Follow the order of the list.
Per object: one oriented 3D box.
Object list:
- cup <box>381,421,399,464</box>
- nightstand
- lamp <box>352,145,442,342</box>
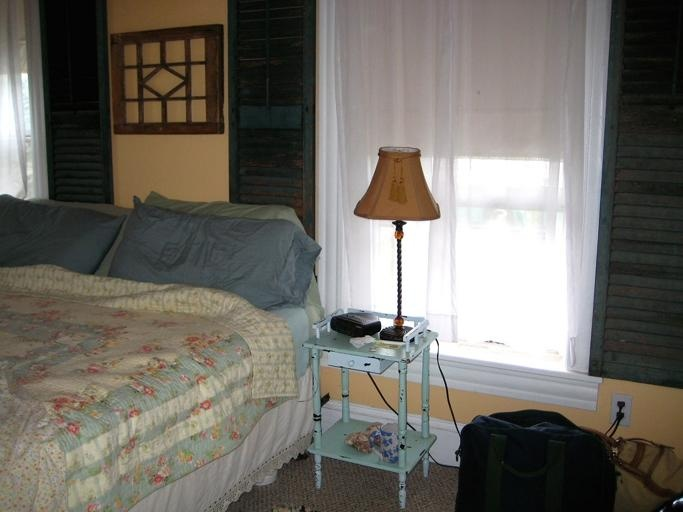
[{"bbox_3d":[0.229,0.887,2.607,0.078,0.141,0.182,2,8,3],"label":"cup"},{"bbox_3d":[0.146,0.827,2.724,0.740,1.018,0.528,3,8,27],"label":"nightstand"},{"bbox_3d":[0.292,-0.060,2.617,0.357,0.903,0.397,6,9,30],"label":"lamp"}]
